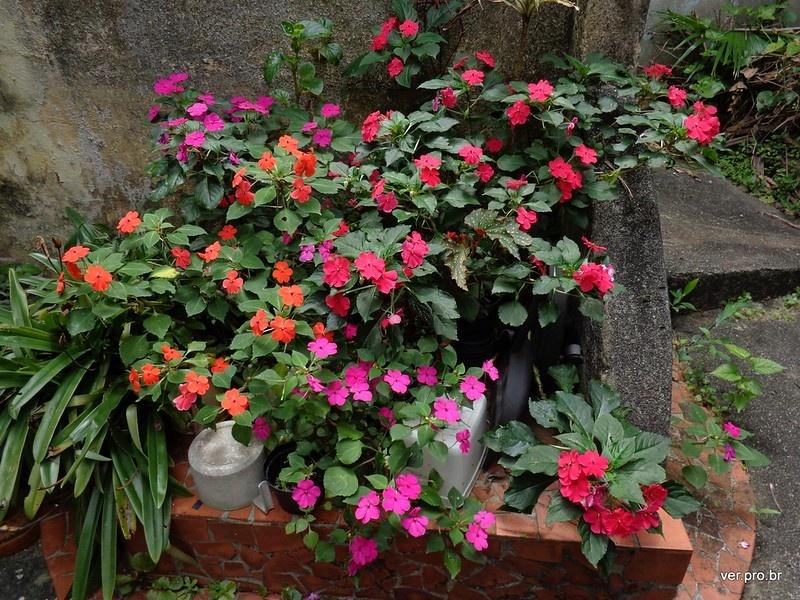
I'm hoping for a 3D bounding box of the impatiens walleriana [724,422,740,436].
[{"bbox_3d":[1.682,0.645,2.889,0.081,0.028,0.081,24,12,10],"label":"impatiens walleriana"}]

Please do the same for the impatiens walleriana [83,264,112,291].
[{"bbox_3d":[-1.337,-0.093,2.533,0.103,0.108,0.119,-23,42,-35],"label":"impatiens walleriana"}]

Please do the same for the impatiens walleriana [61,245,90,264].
[{"bbox_3d":[-1.464,-0.213,2.620,0.109,0.040,0.113,13,40,30],"label":"impatiens walleriana"}]

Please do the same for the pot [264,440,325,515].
[{"bbox_3d":[-0.543,0.903,2.956,0.335,0.247,0.333,0,43,0],"label":"pot"}]

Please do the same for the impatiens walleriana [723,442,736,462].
[{"bbox_3d":[1.631,0.758,2.835,0.040,0.087,0.088,7,12,19],"label":"impatiens walleriana"}]
